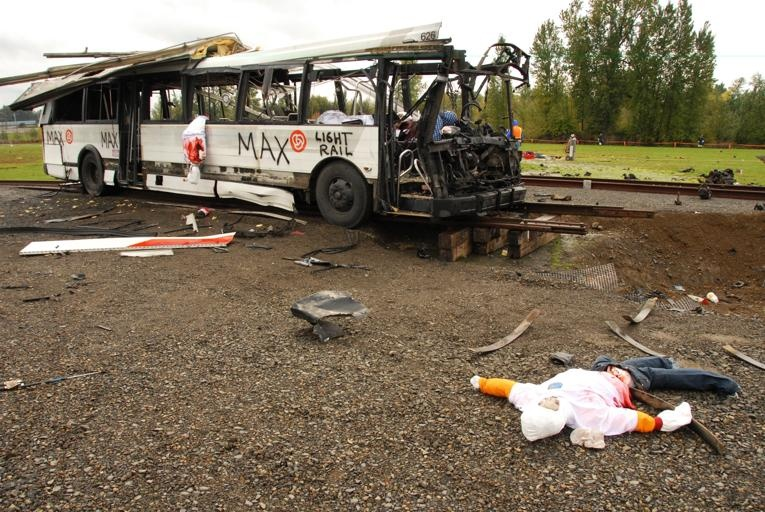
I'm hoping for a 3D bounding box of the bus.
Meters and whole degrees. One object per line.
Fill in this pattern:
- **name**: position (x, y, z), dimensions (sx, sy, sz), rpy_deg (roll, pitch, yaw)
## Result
- **bus**: position (-4.434, -3.336, 12.665), dimensions (15.275, 4.250, 3.411), rpy_deg (6, 17, 26)
